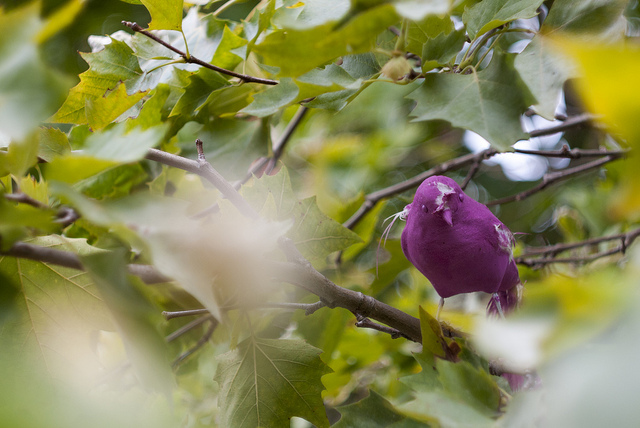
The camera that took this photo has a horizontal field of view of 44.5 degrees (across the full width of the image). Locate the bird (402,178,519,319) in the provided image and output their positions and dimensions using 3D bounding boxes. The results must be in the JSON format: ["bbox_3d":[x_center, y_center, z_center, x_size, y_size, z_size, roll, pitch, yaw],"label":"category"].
[{"bbox_3d":[0.243,0.079,1.419,0.195,0.239,0.352,-13,-10,9],"label":"bird"}]
